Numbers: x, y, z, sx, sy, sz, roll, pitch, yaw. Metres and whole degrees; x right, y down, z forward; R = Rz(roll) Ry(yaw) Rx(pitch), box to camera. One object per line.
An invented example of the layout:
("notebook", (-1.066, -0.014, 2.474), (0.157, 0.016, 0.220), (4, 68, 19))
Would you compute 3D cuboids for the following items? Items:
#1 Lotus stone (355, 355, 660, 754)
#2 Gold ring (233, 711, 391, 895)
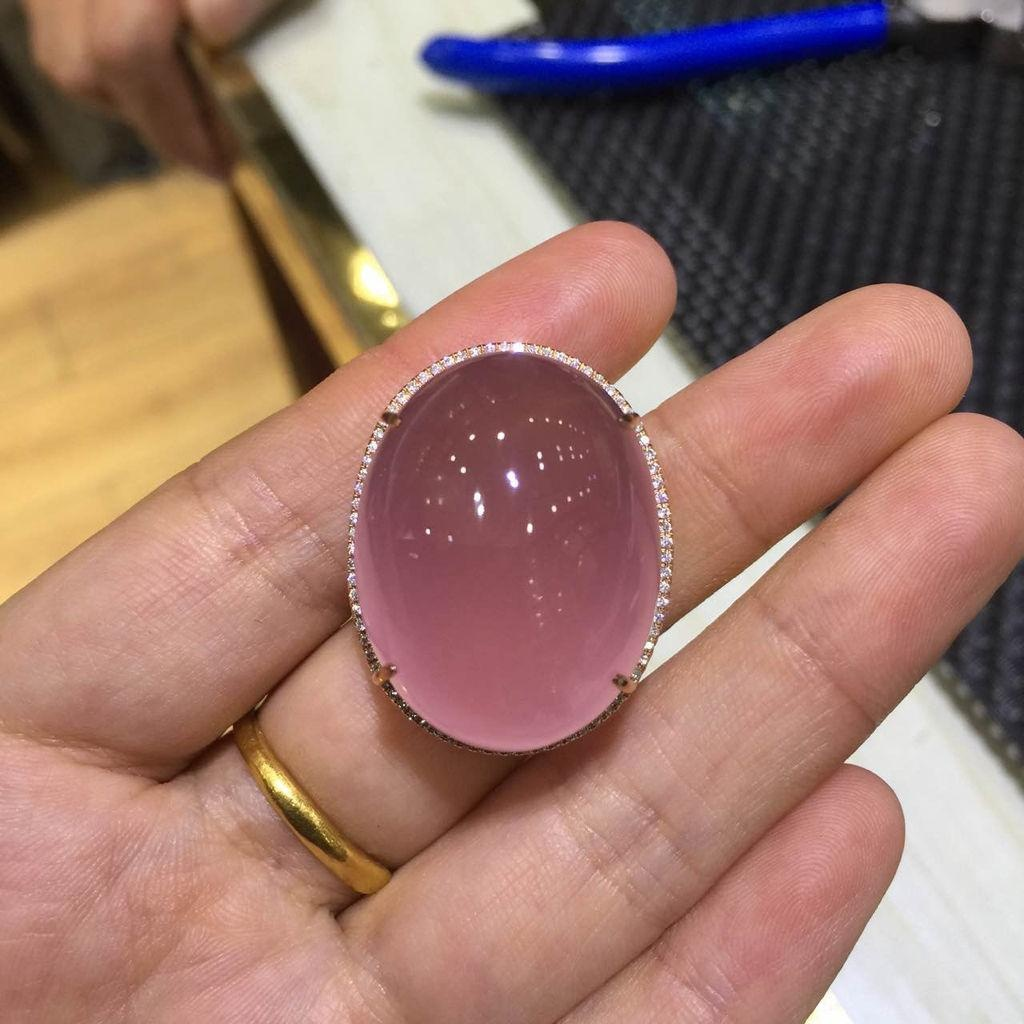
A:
("Lotus stone", (0.000, 0.042, 0.927), (0.250, 0.093, 0.376), (0, 89, -1))
("Gold ring", (-0.199, 0.287, 1.037), (0.040, 0.085, 0.205), (-41, 70, -14))
